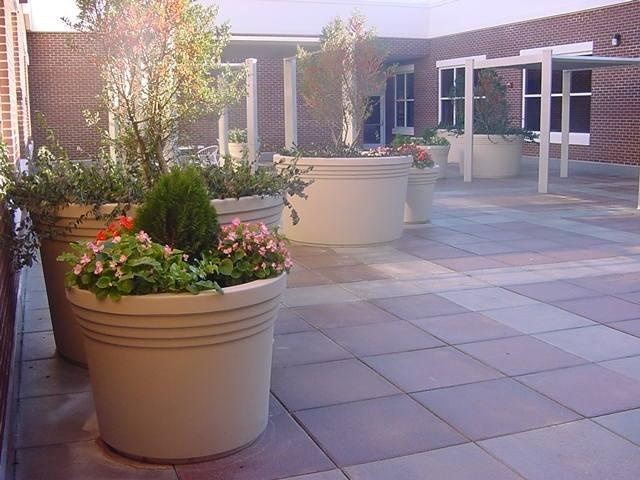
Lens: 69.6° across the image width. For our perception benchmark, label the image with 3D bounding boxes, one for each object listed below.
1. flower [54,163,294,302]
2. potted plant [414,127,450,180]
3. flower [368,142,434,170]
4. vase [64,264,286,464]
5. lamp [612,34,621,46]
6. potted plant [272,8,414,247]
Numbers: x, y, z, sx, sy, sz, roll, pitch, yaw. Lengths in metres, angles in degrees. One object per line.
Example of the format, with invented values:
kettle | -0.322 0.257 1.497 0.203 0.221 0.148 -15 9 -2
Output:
flower | -0.724 0.028 2.335 0.798 0.530 0.850 -3 7 -5
potted plant | 4.122 -3.738 17.245 1.572 2.210 1.717 0 7 6
flower | 1.682 -1.746 8.780 0.994 0.424 1.155 0 3 -5
vase | -0.697 0.555 2.584 0.936 0.807 0.965 -1 0 -3
lamp | 11.011 -7.712 17.010 0.224 0.507 0.270 -7 14 -23
potted plant | 0.341 -2.080 8.026 2.217 3.985 2.463 1 11 18
